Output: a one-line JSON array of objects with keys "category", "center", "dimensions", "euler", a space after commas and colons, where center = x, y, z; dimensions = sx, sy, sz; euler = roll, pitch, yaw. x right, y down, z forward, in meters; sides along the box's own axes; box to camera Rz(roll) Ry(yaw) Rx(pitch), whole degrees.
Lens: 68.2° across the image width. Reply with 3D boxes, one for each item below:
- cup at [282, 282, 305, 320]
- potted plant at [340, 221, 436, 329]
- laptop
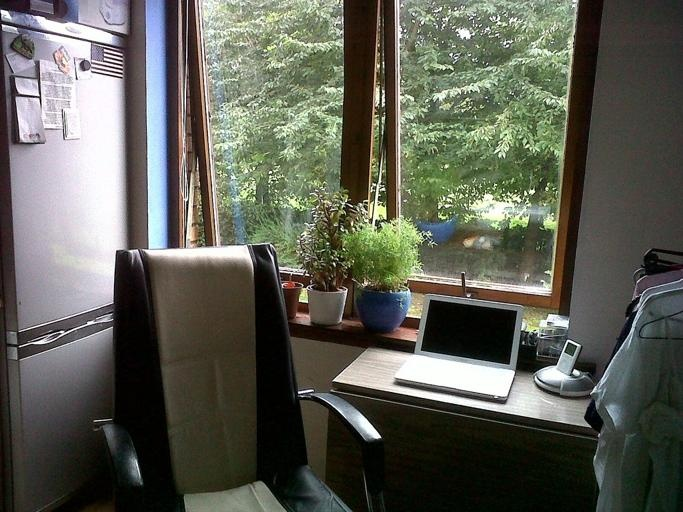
[{"category": "cup", "center": [-0.275, 0.245, 2.828], "dimensions": [0.164, 0.187, 0.172], "euler": [1, 5, 0]}, {"category": "potted plant", "center": [0.182, 0.091, 2.812], "dimensions": [0.539, 0.643, 0.489], "euler": [1, 3, -5]}, {"category": "laptop", "center": [0.565, 0.415, 2.317], "dimensions": [0.452, 0.297, 0.441], "euler": [4, 5, 24]}]
